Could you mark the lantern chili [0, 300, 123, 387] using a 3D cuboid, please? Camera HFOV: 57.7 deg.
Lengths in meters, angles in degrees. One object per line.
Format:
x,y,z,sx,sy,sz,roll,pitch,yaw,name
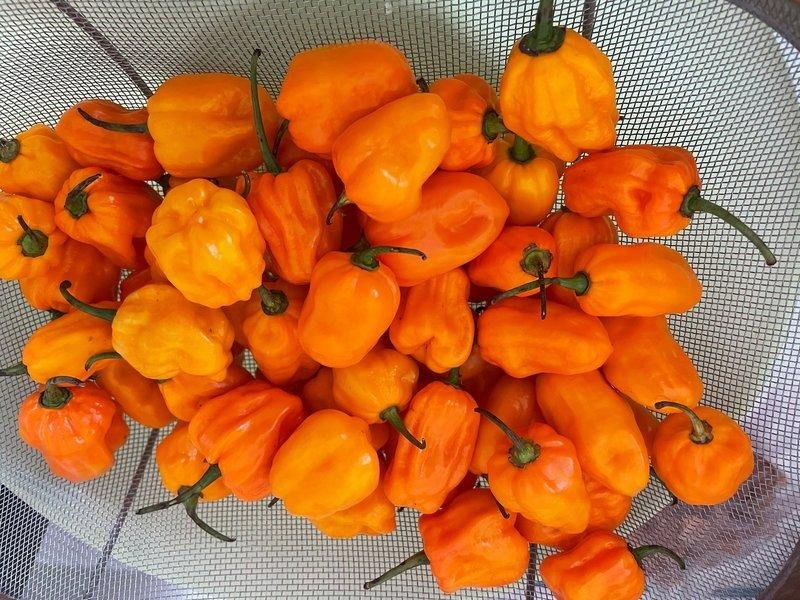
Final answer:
-1.038,0.156,2.329,0.377,0.156,0.192,-22,68,1,lantern chili
